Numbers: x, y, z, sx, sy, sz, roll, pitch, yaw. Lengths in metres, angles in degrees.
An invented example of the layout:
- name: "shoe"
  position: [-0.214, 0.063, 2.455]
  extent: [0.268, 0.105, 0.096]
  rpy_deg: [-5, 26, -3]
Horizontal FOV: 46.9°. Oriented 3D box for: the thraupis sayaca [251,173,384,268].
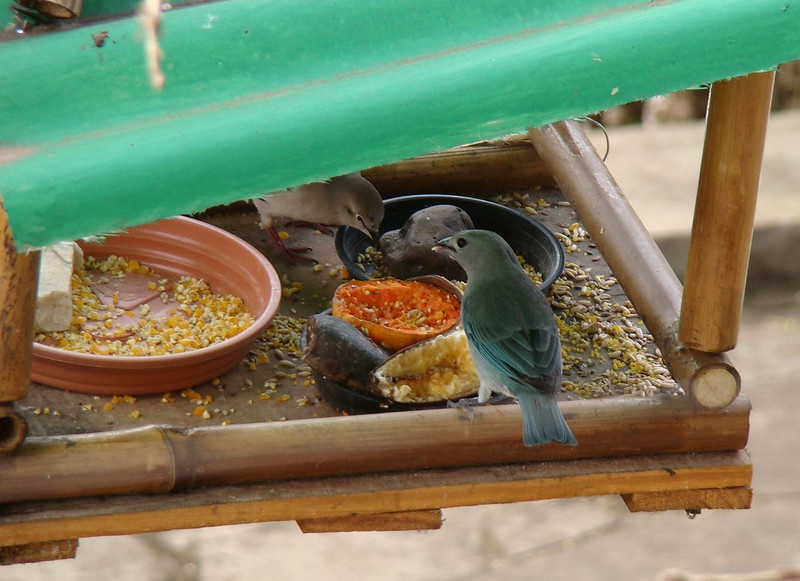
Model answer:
- name: "thraupis sayaca"
  position: [-0.295, -0.249, 3.417]
  extent: [0.578, 0.214, 0.179]
  rpy_deg: [26, 40, 5]
